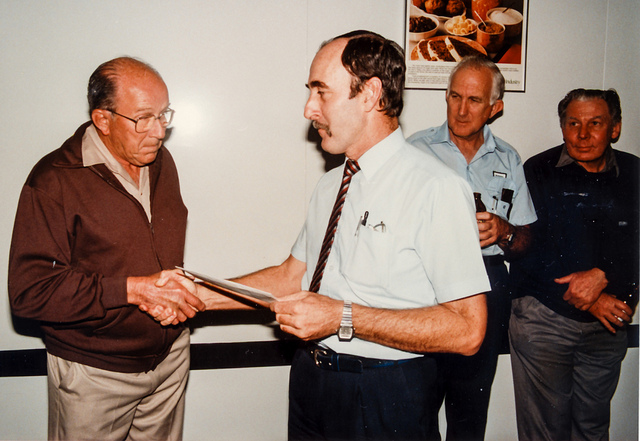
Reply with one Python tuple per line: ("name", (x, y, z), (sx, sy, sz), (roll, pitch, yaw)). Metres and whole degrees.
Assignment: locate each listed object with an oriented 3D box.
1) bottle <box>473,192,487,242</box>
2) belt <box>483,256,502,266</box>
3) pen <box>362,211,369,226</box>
("bottle", (0.993, -0.032, 3.417), (0.074, 0.309, 0.388), (0, 6, 16))
("belt", (1.135, 0.266, 3.628), (0.152, 0.068, 0.028), (-5, 7, -29))
("pen", (0.229, -0.014, 2.745), (0.024, 0.063, 0.026), (1, 6, 29))
